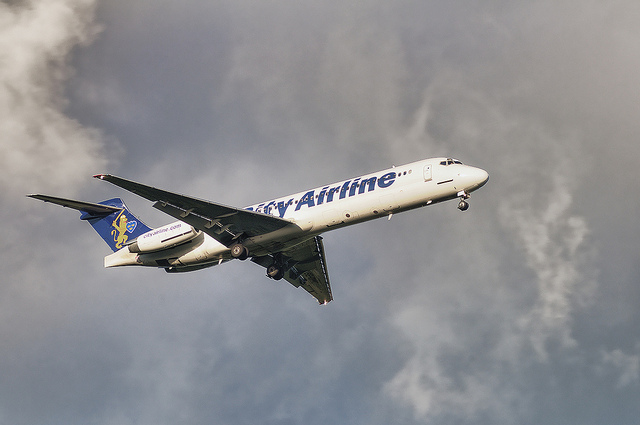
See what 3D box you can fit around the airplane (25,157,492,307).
[{"bbox_3d":[-3.476,0.470,69.898,18.460,14.738,4.575,-20,72,6],"label":"airplane"}]
